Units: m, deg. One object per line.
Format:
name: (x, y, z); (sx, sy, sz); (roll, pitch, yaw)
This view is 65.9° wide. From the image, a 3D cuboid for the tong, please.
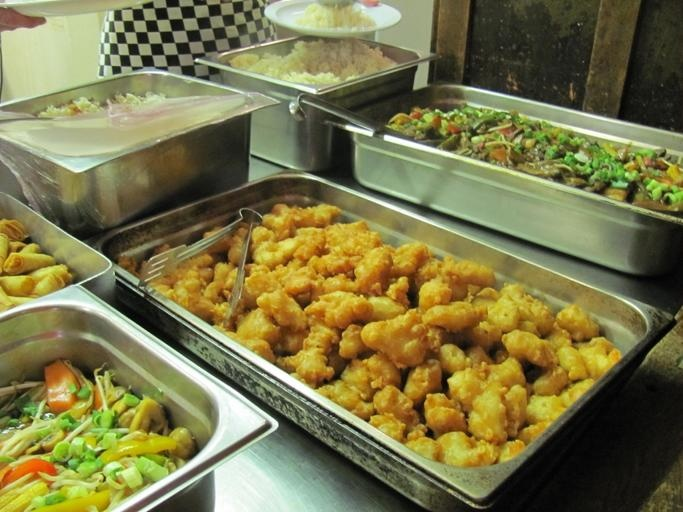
tong: (-0.329, -0.021, 1.362); (0.221, 0.121, 0.417); (7, 41, 5)
